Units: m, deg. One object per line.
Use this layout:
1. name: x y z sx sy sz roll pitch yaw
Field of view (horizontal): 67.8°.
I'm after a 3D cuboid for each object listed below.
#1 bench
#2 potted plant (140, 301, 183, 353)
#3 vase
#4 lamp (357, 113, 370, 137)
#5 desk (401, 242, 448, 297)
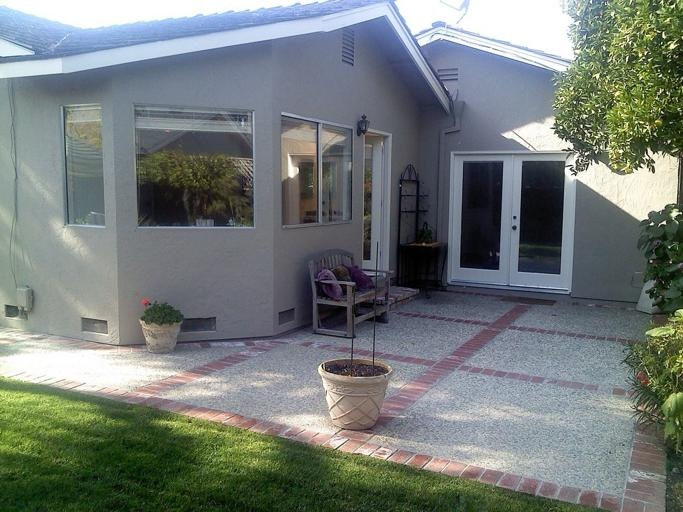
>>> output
1. bench: 0.186 0.578 8.593 0.804 1.294 1.782 2 4 20
2. potted plant: -2.467 0.938 7.104 0.661 0.840 0.664 2 7 -22
3. vase: 0.124 1.400 5.110 0.640 0.550 0.613 -4 9 -36
4. lamp: 0.419 -2.423 9.510 0.190 0.449 0.505 4 8 21
5. desk: 1.804 0.322 11.804 1.020 1.255 1.290 2 7 25
